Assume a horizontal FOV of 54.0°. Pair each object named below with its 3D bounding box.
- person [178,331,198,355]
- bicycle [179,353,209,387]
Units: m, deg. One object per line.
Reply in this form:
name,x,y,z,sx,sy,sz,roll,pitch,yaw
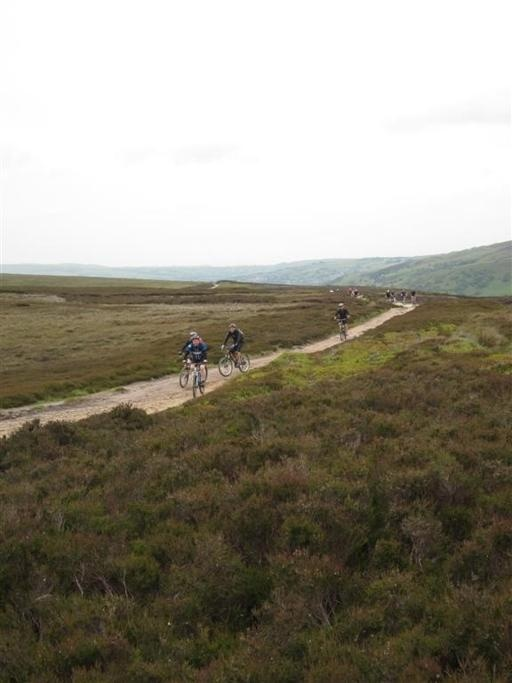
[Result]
person,-4.347,0.091,31.288,0.490,1.787,1.137,13,-5,-44
bicycle,-2.953,1.366,23.916,1.062,1.509,2.334,3,-1,12
